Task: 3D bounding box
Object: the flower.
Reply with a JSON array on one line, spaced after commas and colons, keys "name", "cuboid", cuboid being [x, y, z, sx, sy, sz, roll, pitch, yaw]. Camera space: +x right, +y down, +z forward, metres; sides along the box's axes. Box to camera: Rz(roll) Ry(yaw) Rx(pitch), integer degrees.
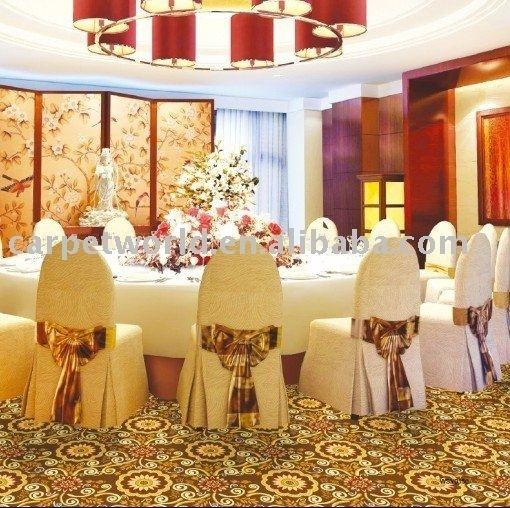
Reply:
[{"name": "flower", "cuboid": [-0.313, -0.461, 3.301, 1.095, 1.001, 0.982, -1, -1, -23]}]
